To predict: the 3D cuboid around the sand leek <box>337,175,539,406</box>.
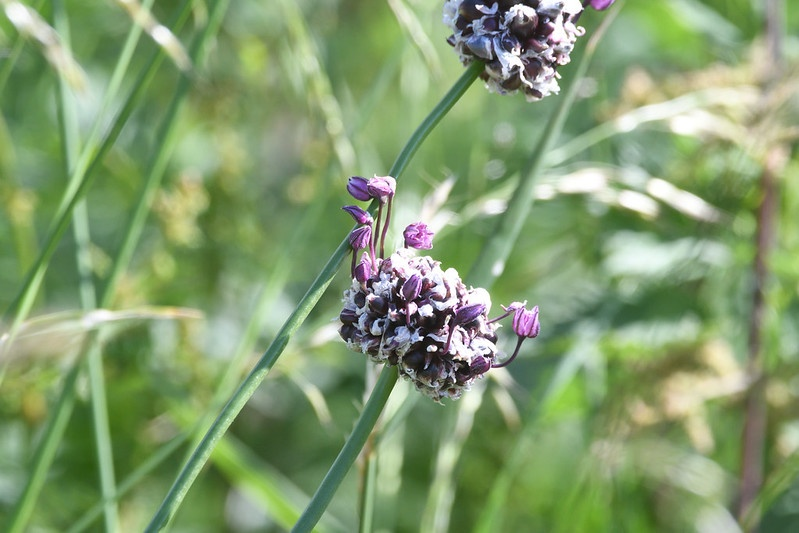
[{"bbox_3d":[0.026,0.062,1.603,0.243,0.343,0.358,-46,-68,-4],"label":"sand leek"}]
